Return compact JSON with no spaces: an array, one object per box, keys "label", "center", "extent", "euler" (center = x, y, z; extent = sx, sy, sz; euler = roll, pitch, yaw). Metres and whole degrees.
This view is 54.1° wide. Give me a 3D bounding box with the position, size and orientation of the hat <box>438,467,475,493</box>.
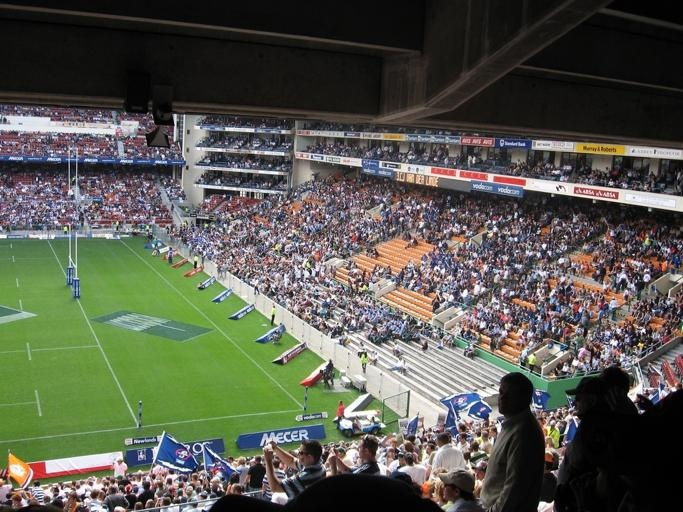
[{"label":"hat","center":[1.077,2.081,6.210],"extent":[0.270,0.162,0.191],"euler":[23,19,27]}]
